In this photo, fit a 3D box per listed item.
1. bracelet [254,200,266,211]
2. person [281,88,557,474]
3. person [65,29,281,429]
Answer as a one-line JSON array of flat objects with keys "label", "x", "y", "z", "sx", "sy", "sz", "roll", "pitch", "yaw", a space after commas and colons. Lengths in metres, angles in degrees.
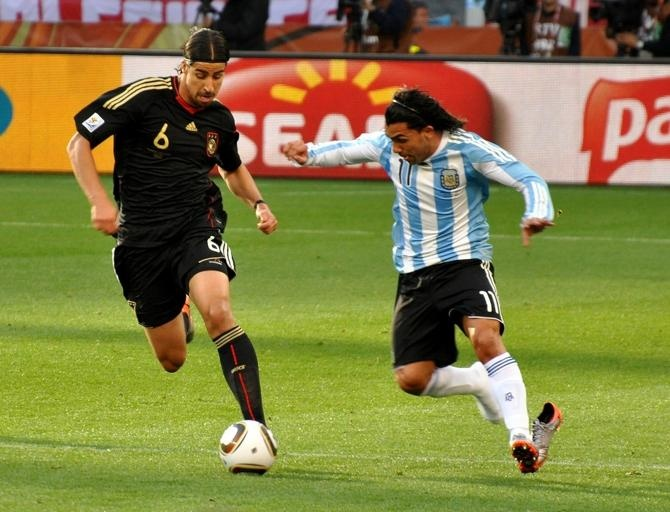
[{"label": "bracelet", "x": -0.439, "y": -0.309, "z": 7.190, "sx": 0.066, "sy": 0.039, "sz": 0.062, "roll": 2, "pitch": 0, "yaw": -36}, {"label": "person", "x": 0.687, "y": 0.016, "z": 6.817, "sx": 0.688, "sy": 1.906, "sz": 1.617, "roll": -10, "pitch": 19, "yaw": -31}, {"label": "person", "x": -0.870, "y": -0.201, "z": 6.798, "sx": 1.143, "sy": 2.145, "sz": 1.054, "roll": -4, "pitch": 17, "yaw": -15}]
